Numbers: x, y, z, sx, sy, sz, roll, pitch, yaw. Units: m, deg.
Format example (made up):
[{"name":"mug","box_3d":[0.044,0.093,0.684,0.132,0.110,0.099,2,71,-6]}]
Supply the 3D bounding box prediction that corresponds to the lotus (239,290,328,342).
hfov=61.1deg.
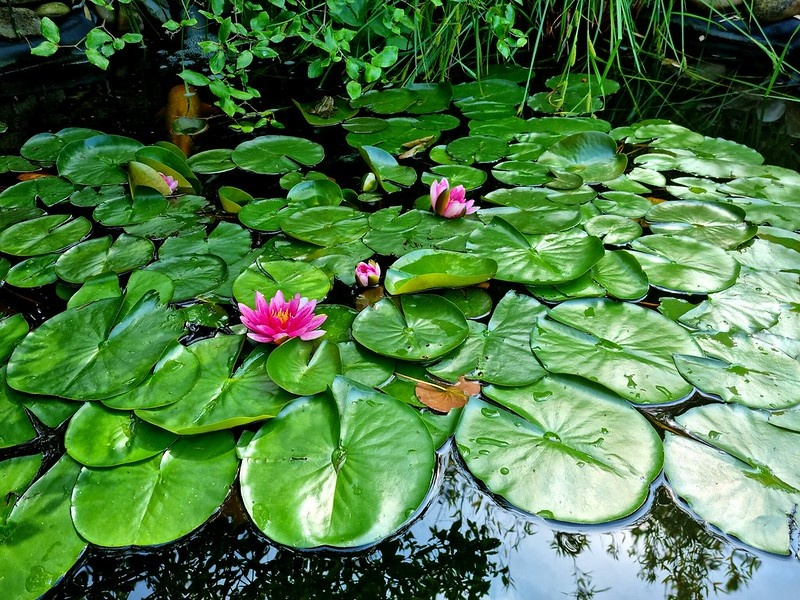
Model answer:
[{"name":"lotus","box_3d":[-0.391,0.045,2.202,0.247,0.210,0.079,-7,72,7]}]

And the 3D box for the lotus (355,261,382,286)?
[{"name":"lotus","box_3d":[-0.102,-0.088,2.364,0.078,0.064,0.089,0,53,17]}]

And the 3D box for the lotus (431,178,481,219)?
[{"name":"lotus","box_3d":[0.216,-0.405,2.634,0.189,0.151,0.130,0,42,-6]}]

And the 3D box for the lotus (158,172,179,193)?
[{"name":"lotus","box_3d":[-0.941,-0.486,2.778,0.047,0.090,0.054,20,44,15]}]
